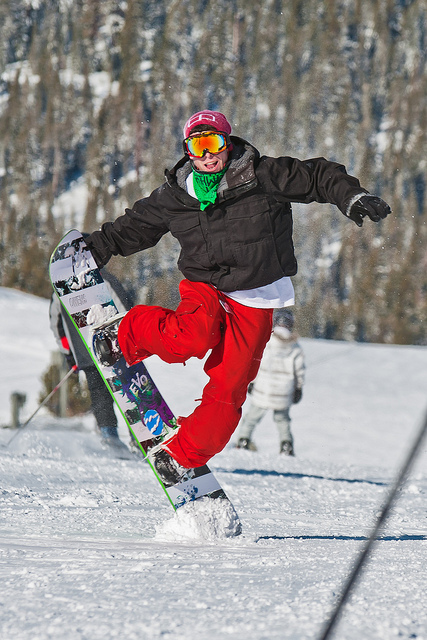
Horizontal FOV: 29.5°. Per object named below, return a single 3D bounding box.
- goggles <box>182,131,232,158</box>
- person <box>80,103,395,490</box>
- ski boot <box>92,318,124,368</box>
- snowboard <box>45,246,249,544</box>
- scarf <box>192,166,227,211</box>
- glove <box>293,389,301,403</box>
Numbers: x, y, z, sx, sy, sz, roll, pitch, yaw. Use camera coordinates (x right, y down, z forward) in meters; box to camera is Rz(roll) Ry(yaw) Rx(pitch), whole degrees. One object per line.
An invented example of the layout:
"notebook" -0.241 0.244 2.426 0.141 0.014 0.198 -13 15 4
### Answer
"goggles" -0.025 -0.628 2.871 0.155 0.063 0.103 -8 -17 17
"person" 0.075 -0.065 2.900 0.874 1.362 0.396 5 -4 10
"ski boot" -0.439 0.095 3.395 0.119 0.214 0.099 -13 14 -26
"snowboard" -0.285 0.321 3.484 0.230 0.077 1.819 -21 58 -21
"scarf" -0.021 -0.469 2.878 0.099 0.149 0.088 -10 14 -28
"glove" 0.557 0.503 5.434 0.045 0.083 0.019 4 1 13
